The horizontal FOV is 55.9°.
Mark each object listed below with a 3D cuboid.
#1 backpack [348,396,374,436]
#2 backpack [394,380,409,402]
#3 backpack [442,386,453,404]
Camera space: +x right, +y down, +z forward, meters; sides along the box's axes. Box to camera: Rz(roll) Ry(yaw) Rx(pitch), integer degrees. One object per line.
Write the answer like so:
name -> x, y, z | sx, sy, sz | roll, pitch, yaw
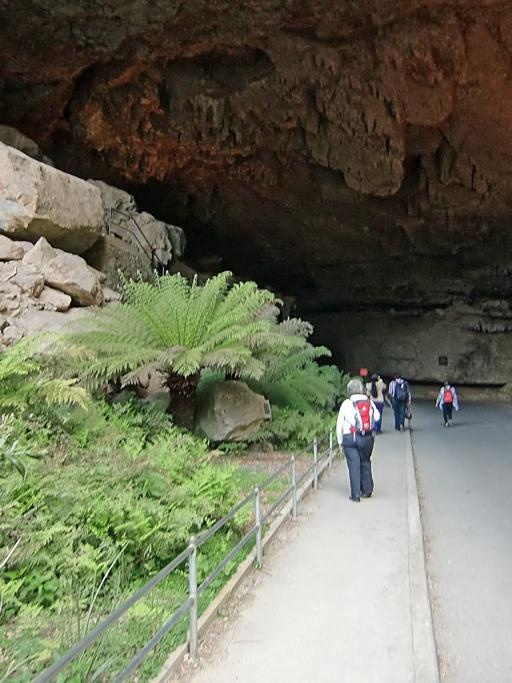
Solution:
backpack -> 1.177, 0.853, 5.476 | 0.269, 0.513, 0.265 | 5, -24, -12
backpack -> 3.401, 1.176, 11.305 | 0.392, 0.740, 0.341 | 0, -5, 5
backpack -> 4.948, 1.377, 12.434 | 0.231, 0.329, 0.245 | -3, -2, 22
